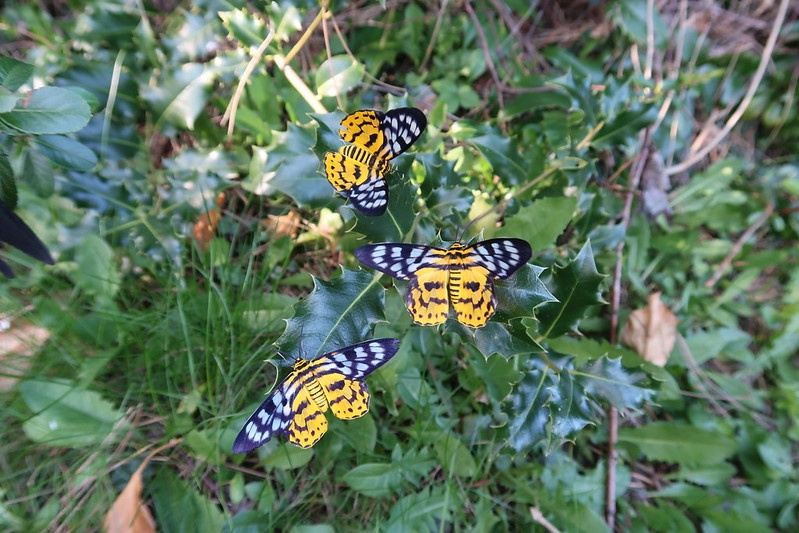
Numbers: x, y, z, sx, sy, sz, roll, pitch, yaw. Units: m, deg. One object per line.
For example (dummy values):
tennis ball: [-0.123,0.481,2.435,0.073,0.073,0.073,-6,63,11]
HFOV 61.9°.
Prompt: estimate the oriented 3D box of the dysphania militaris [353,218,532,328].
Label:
dysphania militaris: [0.215,0.085,3.358,0.848,0.262,0.402,0,80,2]

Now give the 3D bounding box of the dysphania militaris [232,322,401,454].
dysphania militaris: [-0.423,0.655,3.465,0.987,0.252,0.413,-28,80,-3]

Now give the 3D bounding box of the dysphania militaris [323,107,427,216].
dysphania militaris: [-0.155,-0.598,3.539,0.411,0.373,0.569,31,82,8]
